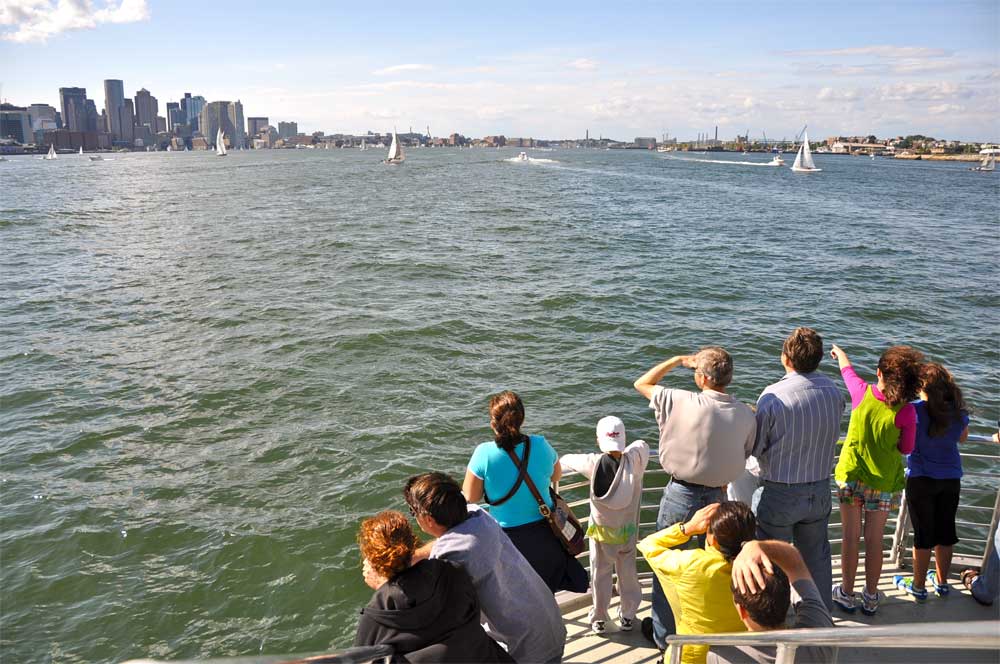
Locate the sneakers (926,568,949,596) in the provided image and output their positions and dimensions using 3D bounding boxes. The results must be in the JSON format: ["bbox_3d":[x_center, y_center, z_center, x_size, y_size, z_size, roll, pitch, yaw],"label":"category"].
[{"bbox_3d":[5.665,3.270,10.132,0.147,0.137,0.322,3,24,-15],"label":"sneakers"}]

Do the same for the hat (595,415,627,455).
[{"bbox_3d":[1.366,1.209,9.580,0.351,0.238,0.482,2,23,3],"label":"hat"}]

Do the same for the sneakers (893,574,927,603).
[{"bbox_3d":[5.294,3.352,10.115,0.177,0.177,0.440,-5,11,-5],"label":"sneakers"}]

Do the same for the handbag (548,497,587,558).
[{"bbox_3d":[0.813,2.399,9.426,0.255,0.512,0.672,-33,57,-14],"label":"handbag"}]

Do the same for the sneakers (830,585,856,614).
[{"bbox_3d":[4.399,3.418,9.960,0.227,0.205,0.491,1,10,9],"label":"sneakers"}]
